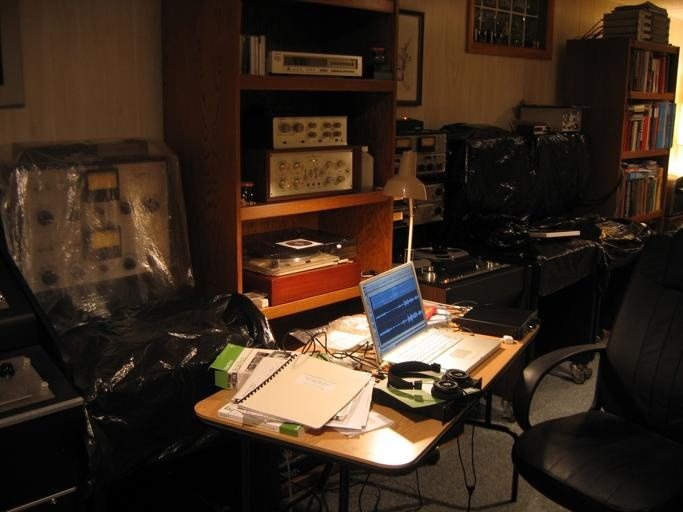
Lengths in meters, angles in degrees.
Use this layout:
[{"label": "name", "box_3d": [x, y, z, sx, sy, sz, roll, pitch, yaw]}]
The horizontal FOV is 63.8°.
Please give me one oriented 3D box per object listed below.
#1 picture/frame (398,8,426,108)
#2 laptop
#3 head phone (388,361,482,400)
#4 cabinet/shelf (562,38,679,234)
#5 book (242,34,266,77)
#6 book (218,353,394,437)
[{"label": "picture/frame", "box_3d": [0.472, -1.368, 3.728, 0.046, 0.692, 0.580, 4, 10, 27]}, {"label": "laptop", "box_3d": [0.356, 0.244, 2.252, 0.570, 0.344, 0.577, -8, 11, -16]}, {"label": "head phone", "box_3d": [0.331, 0.455, 1.982, 0.306, 0.081, 0.231, 9, 13, 34]}, {"label": "cabinet/shelf", "box_3d": [2.596, -1.074, 5.016, 1.323, 1.793, 0.583, -10, 17, -18]}, {"label": "book", "box_3d": [-0.373, -0.860, 2.381, 0.127, 0.181, 0.052, -5, 1, -24]}, {"label": "book", "box_3d": [-0.120, 0.466, 1.851, 0.284, 0.069, 0.294, 13, 22, 15]}]
